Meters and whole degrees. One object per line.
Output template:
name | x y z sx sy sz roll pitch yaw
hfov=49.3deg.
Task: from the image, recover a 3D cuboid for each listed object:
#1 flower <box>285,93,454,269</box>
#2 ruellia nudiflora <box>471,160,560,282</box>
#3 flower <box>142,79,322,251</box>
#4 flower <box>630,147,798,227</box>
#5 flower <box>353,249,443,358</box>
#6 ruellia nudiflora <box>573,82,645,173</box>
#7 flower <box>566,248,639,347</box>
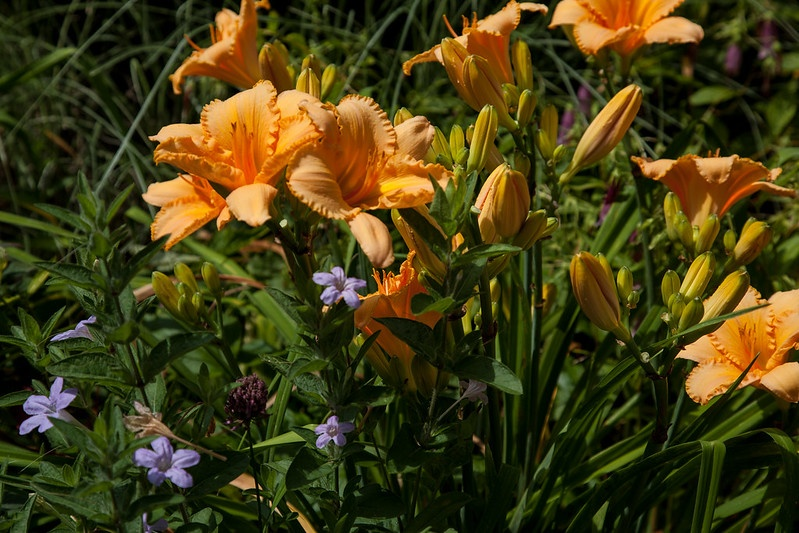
flower | -0.100 -0.270 2.438 0.405 0.201 0.521 8 60 -29
ruellia nudiflora | 0.318 -0.155 2.530 0.215 0.202 0.151 27 47 15
flower | -0.371 -0.249 2.523 0.485 0.486 0.279 -10 32 -7
flower | 0.980 -0.265 2.727 0.302 0.303 0.184 23 77 -30
flower | -0.018 0.116 2.605 0.257 0.272 0.190 -14 71 -15
ruellia nudiflora | 0.647 -0.435 2.743 0.115 0.278 0.209 32 49 23
flower | 0.617 0.071 2.604 0.239 0.214 0.151 24 46 13
